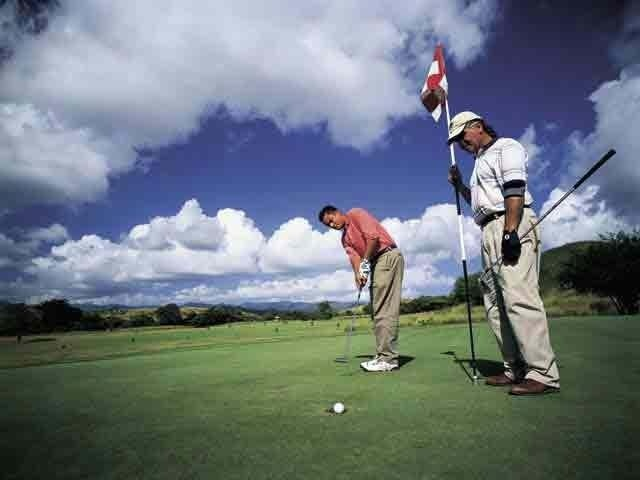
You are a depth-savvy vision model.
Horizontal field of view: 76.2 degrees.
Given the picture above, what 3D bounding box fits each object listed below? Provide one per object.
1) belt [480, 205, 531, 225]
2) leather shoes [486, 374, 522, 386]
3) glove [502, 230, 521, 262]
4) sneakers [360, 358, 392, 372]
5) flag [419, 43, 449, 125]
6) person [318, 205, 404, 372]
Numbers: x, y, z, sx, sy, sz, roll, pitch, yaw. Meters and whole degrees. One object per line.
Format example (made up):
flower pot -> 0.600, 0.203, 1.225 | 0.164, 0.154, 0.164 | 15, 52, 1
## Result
belt -> 2.290, -0.319, 4.960 | 0.355, 0.111, 0.344 | -33, 5, -35
leather shoes -> 2.255, 1.736, 5.028 | 0.419, 0.174, 0.157 | 3, -14, 4
glove -> 2.244, 0.079, 4.773 | 0.208, 0.387, 0.129 | -7, -11, 24
sneakers -> 0.831, 1.844, 5.971 | 0.292, 0.123, 0.204 | 4, -17, 9
flag -> 2.026, -2.756, 7.277 | 0.422, 1.500, 0.808 | -5, -10, 14
person -> 0.747, 0.700, 6.531 | 0.993, 2.607, 0.740 | -11, -13, 41
